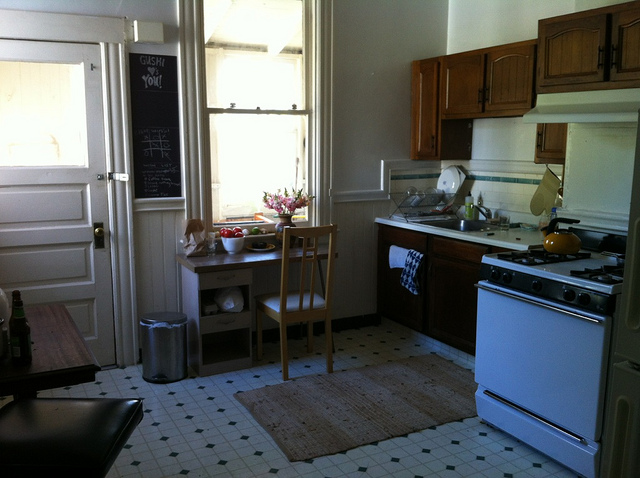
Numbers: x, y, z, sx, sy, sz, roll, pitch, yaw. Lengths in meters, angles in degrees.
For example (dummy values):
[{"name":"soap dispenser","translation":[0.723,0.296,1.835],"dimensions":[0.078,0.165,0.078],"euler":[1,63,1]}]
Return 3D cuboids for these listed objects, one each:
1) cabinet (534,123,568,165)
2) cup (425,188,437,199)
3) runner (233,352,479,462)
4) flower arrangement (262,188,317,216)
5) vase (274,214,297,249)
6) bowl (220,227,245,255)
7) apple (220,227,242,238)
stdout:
[{"name":"cabinet","translation":[1.846,-0.716,3.798],"dimensions":[0.251,0.362,0.213],"euler":[6,-30,26]},{"name":"cup","translation":[1.084,-0.434,4.719],"dimensions":[0.102,0.100,0.074],"euler":[-8,-5,36]},{"name":"runner","translation":[0.288,1.160,3.447],"dimensions":[1.650,0.017,0.883],"euler":[-5,14,-21]},{"name":"flower arrangement","translation":[-0.263,-0.323,4.219],"dimensions":[0.261,0.188,0.276],"euler":[3,8,32]},{"name":"vase","translation":[-0.289,-0.058,4.291],"dimensions":[0.208,0.327,0.207],"euler":[-5,-3,27]},{"name":"bowl","translation":[-0.697,0.033,3.983],"dimensions":[0.205,0.189,0.178],"euler":[-2,0,30]},{"name":"apple","translation":[-0.744,-0.054,4.019],"dimensions":[0.085,0.065,0.143],"euler":[4,13,39]}]
